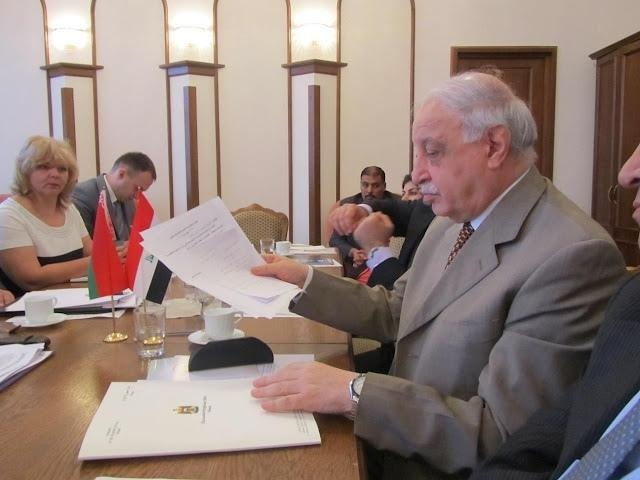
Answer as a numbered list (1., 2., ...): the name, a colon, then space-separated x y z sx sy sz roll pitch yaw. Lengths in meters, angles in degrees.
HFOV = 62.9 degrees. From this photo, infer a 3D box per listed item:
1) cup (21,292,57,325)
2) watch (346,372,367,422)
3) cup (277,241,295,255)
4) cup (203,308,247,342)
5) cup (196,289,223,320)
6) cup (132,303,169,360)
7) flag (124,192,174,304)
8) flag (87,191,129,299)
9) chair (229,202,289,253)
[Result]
1. cup: -0.886 0.228 1.703 0.125 0.103 0.081 -7 13 -39
2. watch: 0.077 0.326 1.127 0.071 0.024 0.060 -36 32 16
3. cup: -0.204 0.045 3.225 0.085 0.073 0.068 6 -10 -24
4. cup: -0.268 0.234 1.449 0.097 0.078 0.076 2 -7 -25
5. cup: -0.390 0.221 1.832 0.096 0.081 0.080 3 6 1
6. cup: -0.481 0.250 1.477 0.085 0.143 0.087 3 10 -1
7. flag: -0.515 0.049 1.550 0.130 0.401 0.031 13 23 0
8. flag: -0.652 0.007 1.591 0.111 0.315 0.016 -3 1 -39
9. chair: -0.502 -0.095 4.546 0.357 0.608 0.414 -4 -2 -8
